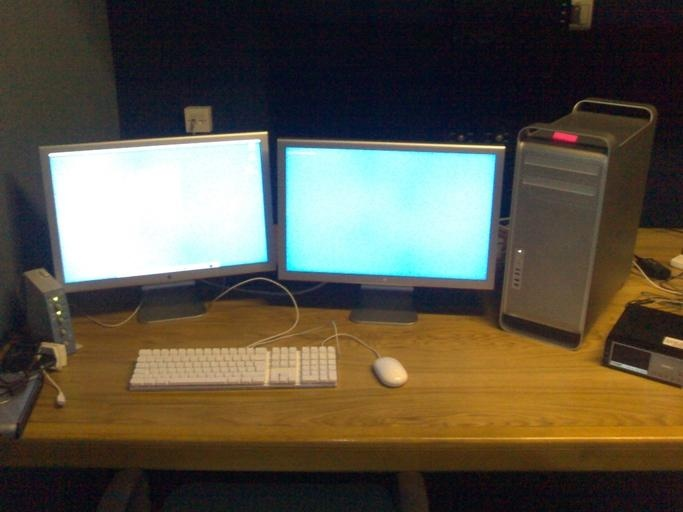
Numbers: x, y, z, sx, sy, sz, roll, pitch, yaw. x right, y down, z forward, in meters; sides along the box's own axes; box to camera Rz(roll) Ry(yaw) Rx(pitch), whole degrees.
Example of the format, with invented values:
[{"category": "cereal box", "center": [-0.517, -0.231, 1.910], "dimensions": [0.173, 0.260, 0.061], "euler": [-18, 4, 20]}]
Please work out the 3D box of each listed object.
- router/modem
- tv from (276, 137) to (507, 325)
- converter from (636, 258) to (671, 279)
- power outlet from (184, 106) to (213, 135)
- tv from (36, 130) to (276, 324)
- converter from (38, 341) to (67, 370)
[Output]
[{"category": "router/modem", "center": [-0.849, 0.159, 1.813], "dimensions": [0.125, 0.214, 0.170], "euler": [-12, 25, -35]}, {"category": "tv", "center": [0.135, -0.113, 1.892], "dimensions": [0.658, 0.595, 0.197], "euler": [3, 24, 6]}, {"category": "converter", "center": [1.098, 0.035, 2.138], "dimensions": [0.059, 0.038, 0.105], "euler": [-20, 39, -15]}, {"category": "power outlet", "center": [-0.552, -0.523, 2.349], "dimensions": [0.108, 0.105, 0.103], "euler": [0, 7, 1]}, {"category": "tv", "center": [-0.556, -0.088, 1.914], "dimensions": [0.699, 0.539, 0.213], "euler": [-5, 10, -4]}, {"category": "converter", "center": [-0.830, 0.286, 1.732], "dimensions": [0.065, 0.061, 0.035], "euler": [10, 23, 7]}]
